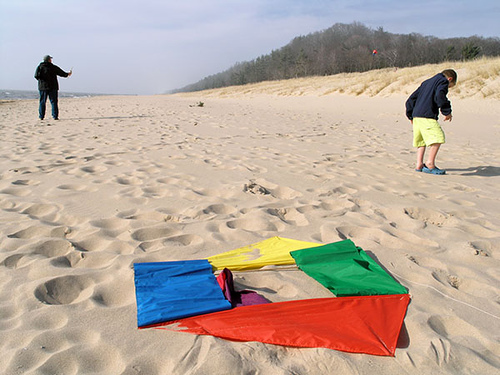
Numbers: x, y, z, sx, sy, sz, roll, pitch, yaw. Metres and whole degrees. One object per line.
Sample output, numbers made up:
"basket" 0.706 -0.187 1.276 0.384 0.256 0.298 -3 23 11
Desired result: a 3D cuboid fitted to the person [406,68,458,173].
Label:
"person" 2.830 -1.040 6.276 0.651 1.540 0.805 0 18 12
